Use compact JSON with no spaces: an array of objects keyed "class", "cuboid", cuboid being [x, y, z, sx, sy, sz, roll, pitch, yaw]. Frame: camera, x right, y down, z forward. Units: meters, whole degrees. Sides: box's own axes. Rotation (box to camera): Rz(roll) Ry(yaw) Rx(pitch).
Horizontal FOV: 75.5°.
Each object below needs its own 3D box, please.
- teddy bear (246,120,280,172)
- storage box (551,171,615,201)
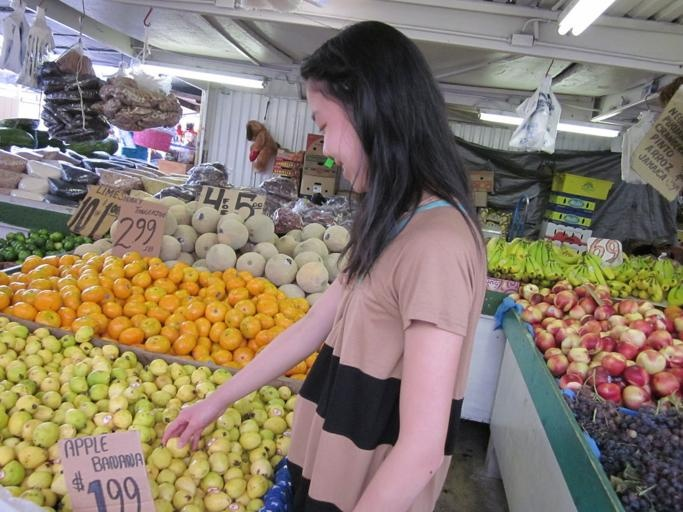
[{"class":"teddy bear","cuboid":[-1.611,-2.259,8.949,0.515,1.119,0.476,1,14,0]},{"class":"storage box","cuboid":[4.063,-1.215,7.558,0.903,0.335,0.406,18,11,33]}]
